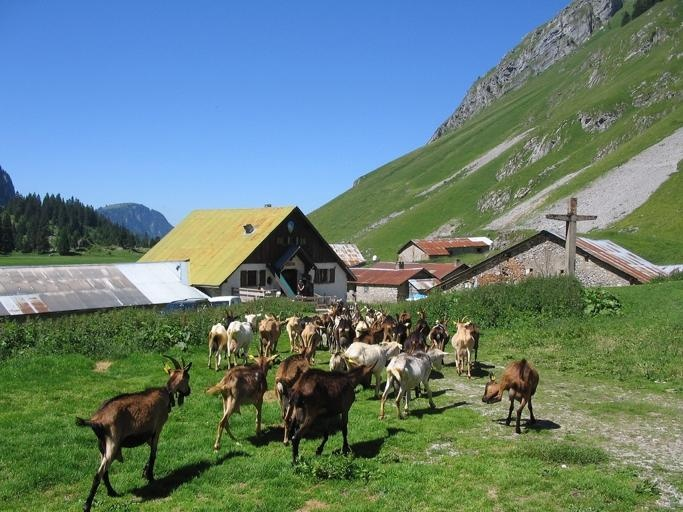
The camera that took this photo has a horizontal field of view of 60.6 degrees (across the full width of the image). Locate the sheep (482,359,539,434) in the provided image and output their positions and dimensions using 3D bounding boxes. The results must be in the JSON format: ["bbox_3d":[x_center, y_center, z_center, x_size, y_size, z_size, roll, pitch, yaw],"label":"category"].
[{"bbox_3d":[6.796,5.137,22.933,1.699,2.787,1.940,11,14,44],"label":"sheep"}]
